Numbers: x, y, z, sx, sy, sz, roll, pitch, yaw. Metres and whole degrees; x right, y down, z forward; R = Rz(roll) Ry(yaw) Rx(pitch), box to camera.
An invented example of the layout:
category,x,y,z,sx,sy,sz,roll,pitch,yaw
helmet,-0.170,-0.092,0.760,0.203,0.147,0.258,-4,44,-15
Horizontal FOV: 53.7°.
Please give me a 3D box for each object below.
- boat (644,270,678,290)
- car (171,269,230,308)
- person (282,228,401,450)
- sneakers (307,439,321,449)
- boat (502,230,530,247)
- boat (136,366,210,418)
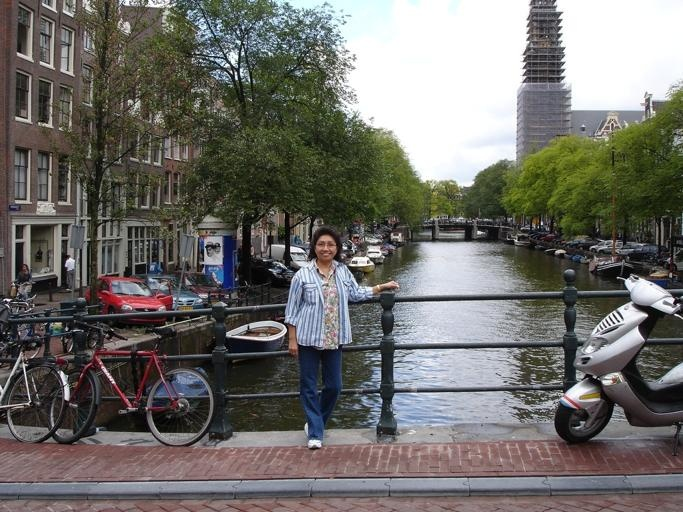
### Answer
category,x,y,z,sx,sy,sz,roll,pitch,yaw
boat,14.351,1.008,30.060,1.501,0.655,2.128,0,-5,6
car,-5.232,1.199,25.962,2.023,1.450,4.179,1,-1,-26
person,-0.116,0.785,6.709,0.889,2.168,0.431,-3,3,-11
sneakers,-0.260,1.823,6.562,0.137,0.092,0.097,-2,3,-4
boat,28.390,-2.675,107.453,2.308,2.182,9.995,0,-1,5
boat,-1.635,1.352,6.734,0.587,0.457,0.223,-31,-14,6
